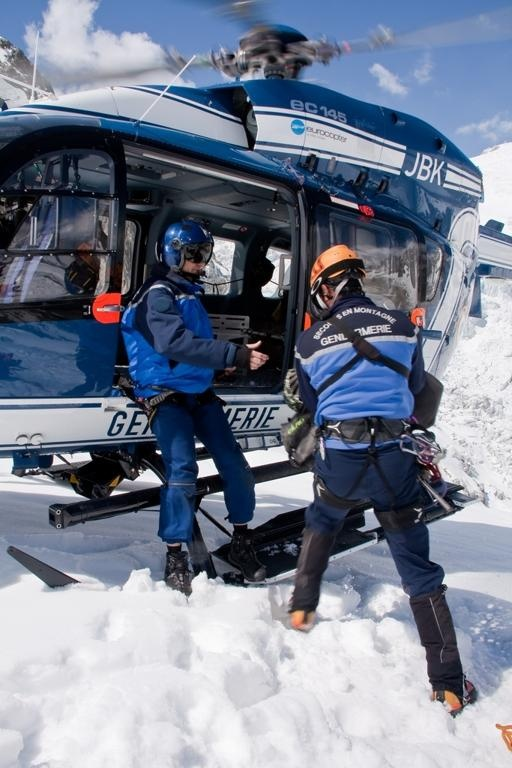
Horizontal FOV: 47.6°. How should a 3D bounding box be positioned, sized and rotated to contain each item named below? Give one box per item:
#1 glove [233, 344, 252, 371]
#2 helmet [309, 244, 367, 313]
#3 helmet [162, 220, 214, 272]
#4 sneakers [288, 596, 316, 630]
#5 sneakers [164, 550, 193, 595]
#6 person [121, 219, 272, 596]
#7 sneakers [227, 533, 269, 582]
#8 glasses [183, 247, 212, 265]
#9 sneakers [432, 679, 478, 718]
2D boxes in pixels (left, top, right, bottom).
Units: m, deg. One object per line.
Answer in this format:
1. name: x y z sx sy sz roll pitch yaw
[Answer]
1. glove: -0.062 -0.134 2.888 0.127 0.106 0.145 -4 -1 2
2. helmet: 0.403 -0.542 2.894 0.262 0.272 0.322 -12 -2 -23
3. helmet: -0.374 -0.775 3.207 0.309 0.272 0.262 13 16 18
4. sneakers: 0.217 1.150 2.885 0.143 0.126 0.127 1 -19 -2
5. sneakers: -0.387 0.953 2.927 0.140 0.205 0.262 6 18 -6
6. person: -0.310 0.215 3.129 0.621 2.062 0.974 -4 22 -31
7. sneakers: 0.001 0.963 3.230 0.123 0.192 0.317 -1 10 -32
8. glasses: -0.312 -0.695 3.159 0.122 0.072 0.091 5 10 24
9. sneakers: 0.813 1.307 2.417 0.084 0.084 0.216 -5 -7 37
